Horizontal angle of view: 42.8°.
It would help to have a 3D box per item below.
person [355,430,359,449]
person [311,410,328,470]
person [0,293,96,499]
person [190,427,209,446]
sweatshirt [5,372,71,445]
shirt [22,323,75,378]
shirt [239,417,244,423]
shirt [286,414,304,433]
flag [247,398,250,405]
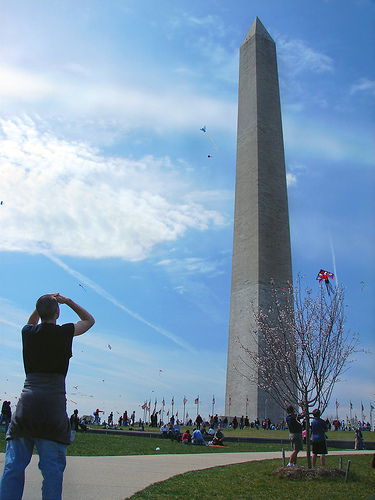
[{"bbox_3d":[7.695,8.575,21.524,0.128,0.834,0.407,0,-13,20],"label":"person"},{"bbox_3d":[2.835,4.153,10.245,0.320,1.232,1.141,1,-12,16],"label":"person"},{"bbox_3d":[-1.002,0.971,3.370,0.487,1.350,0.600,7,-13,-10],"label":"person"},{"bbox_3d":[0.480,8.202,20.862,0.565,0.555,0.996,6,-12,-7],"label":"person"},{"bbox_3d":[-1.009,1.091,3.299,0.402,0.466,0.197,8,-13,-17],"label":"sweatshirt"},{"bbox_3d":[-1.051,0.724,3.485,0.390,0.386,0.203,5,-12,-4],"label":"shirt"},{"bbox_3d":[4.558,14.308,39.875,0.275,0.446,0.551,4,-12,5],"label":"shirt"},{"bbox_3d":[2.353,3.799,10.448,0.339,0.425,0.518,1,-12,14],"label":"shirt"},{"bbox_3d":[5.241,13.159,41.196,0.077,0.385,0.339,9,-13,-19],"label":"flag"}]
